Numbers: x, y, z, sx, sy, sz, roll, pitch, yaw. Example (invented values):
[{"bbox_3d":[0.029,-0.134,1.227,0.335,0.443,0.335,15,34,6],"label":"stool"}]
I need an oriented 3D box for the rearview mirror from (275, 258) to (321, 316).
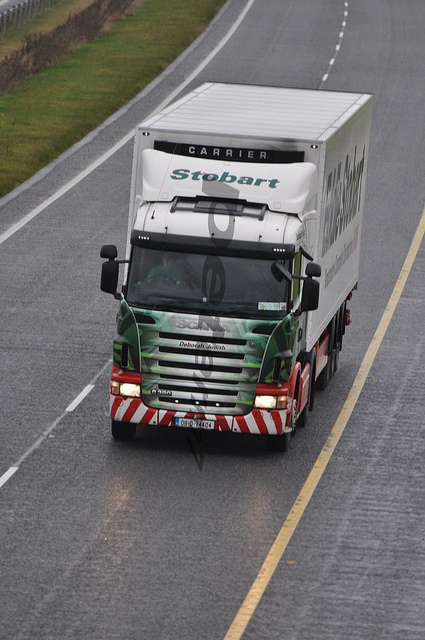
[{"bbox_3d":[0.901,-0.342,8.163,0.347,0.584,0.312,-1,10,6],"label":"rearview mirror"}]

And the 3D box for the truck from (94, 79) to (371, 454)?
[{"bbox_3d":[0.481,-0.864,10.378,2.505,3.204,5.031,4,15,12],"label":"truck"}]

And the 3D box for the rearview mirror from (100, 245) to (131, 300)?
[{"bbox_3d":[-0.991,-0.521,8.490,0.407,0.593,0.179,4,22,-15],"label":"rearview mirror"}]
